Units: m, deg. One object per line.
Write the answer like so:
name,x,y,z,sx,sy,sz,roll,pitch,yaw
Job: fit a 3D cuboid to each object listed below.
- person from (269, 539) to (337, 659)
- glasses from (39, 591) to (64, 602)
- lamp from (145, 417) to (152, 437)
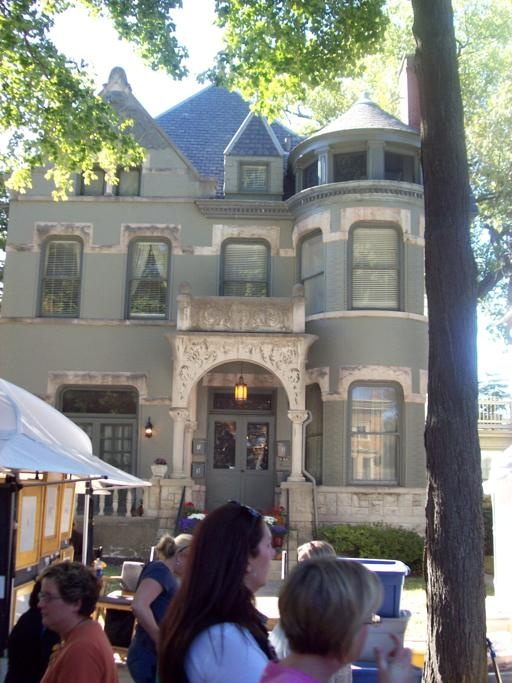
person,0.338,1.401,4.502,0.242,0.275,0.813,-18,23,15
glasses,-1.033,1.298,3.787,0.087,0.023,0.081,13,-18,-27
lamp,-2.303,1.856,16.160,0.194,0.433,0.234,3,-14,-1
